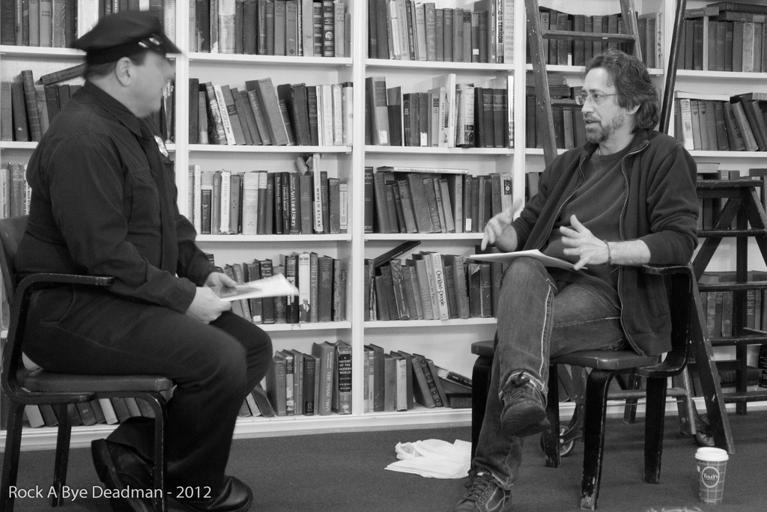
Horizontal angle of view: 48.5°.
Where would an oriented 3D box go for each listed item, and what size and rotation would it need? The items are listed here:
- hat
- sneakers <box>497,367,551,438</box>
[{"bbox_3d":[-1.020,-0.849,3.315,0.334,0.127,0.242,-10,14,-16],"label":"hat"},{"bbox_3d":[0.549,0.598,3.295,0.191,0.303,0.241,2,8,8],"label":"sneakers"}]
